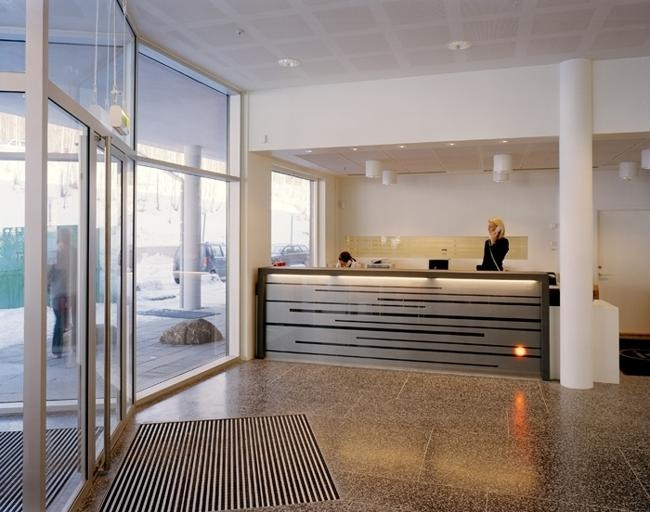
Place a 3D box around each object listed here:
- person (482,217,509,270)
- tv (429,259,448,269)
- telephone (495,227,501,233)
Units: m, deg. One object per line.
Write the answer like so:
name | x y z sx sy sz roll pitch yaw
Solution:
person | 2.440 -0.165 6.970 0.339 0.758 0.650 2 4 19
tv | 2.165 0.213 9.265 0.349 0.232 0.193 0 -6 6
telephone | 2.482 -0.380 6.964 0.098 0.073 0.027 -2 5 -25
